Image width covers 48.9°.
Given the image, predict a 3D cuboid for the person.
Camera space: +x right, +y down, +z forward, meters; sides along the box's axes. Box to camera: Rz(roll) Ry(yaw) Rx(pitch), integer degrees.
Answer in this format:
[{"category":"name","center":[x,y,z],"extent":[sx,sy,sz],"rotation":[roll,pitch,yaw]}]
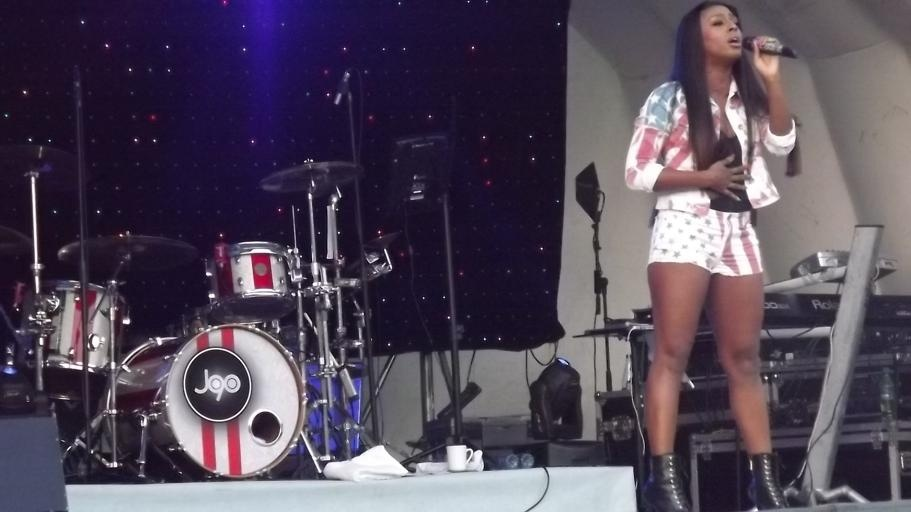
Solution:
[{"category":"person","center":[1.460,-0.027,5.735],"extent":[0.934,2.918,0.336],"rotation":[-2,-4,6]}]

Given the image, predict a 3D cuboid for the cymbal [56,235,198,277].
[{"category":"cymbal","center":[-2.201,-0.103,6.843],"extent":[0.872,0.208,0.888],"rotation":[-1,-16,-11]}]

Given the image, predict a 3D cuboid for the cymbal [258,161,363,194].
[{"category":"cymbal","center":[-1.039,-0.566,7.178],"extent":[0.425,0.096,0.418],"rotation":[6,-26,-38]}]

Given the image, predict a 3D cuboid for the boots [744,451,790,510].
[{"category":"boots","center":[1.749,1.261,5.634],"extent":[0.180,0.312,0.080],"rotation":[-3,-4,19]}]

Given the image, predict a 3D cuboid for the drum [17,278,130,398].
[{"category":"drum","center":[-2.747,0.526,7.047],"extent":[0.864,0.839,0.795],"rotation":[5,-9,-19]}]

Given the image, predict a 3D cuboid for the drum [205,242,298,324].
[{"category":"drum","center":[-1.442,0.221,7.067],"extent":[0.579,0.431,0.584],"rotation":[-9,-23,-4]}]
